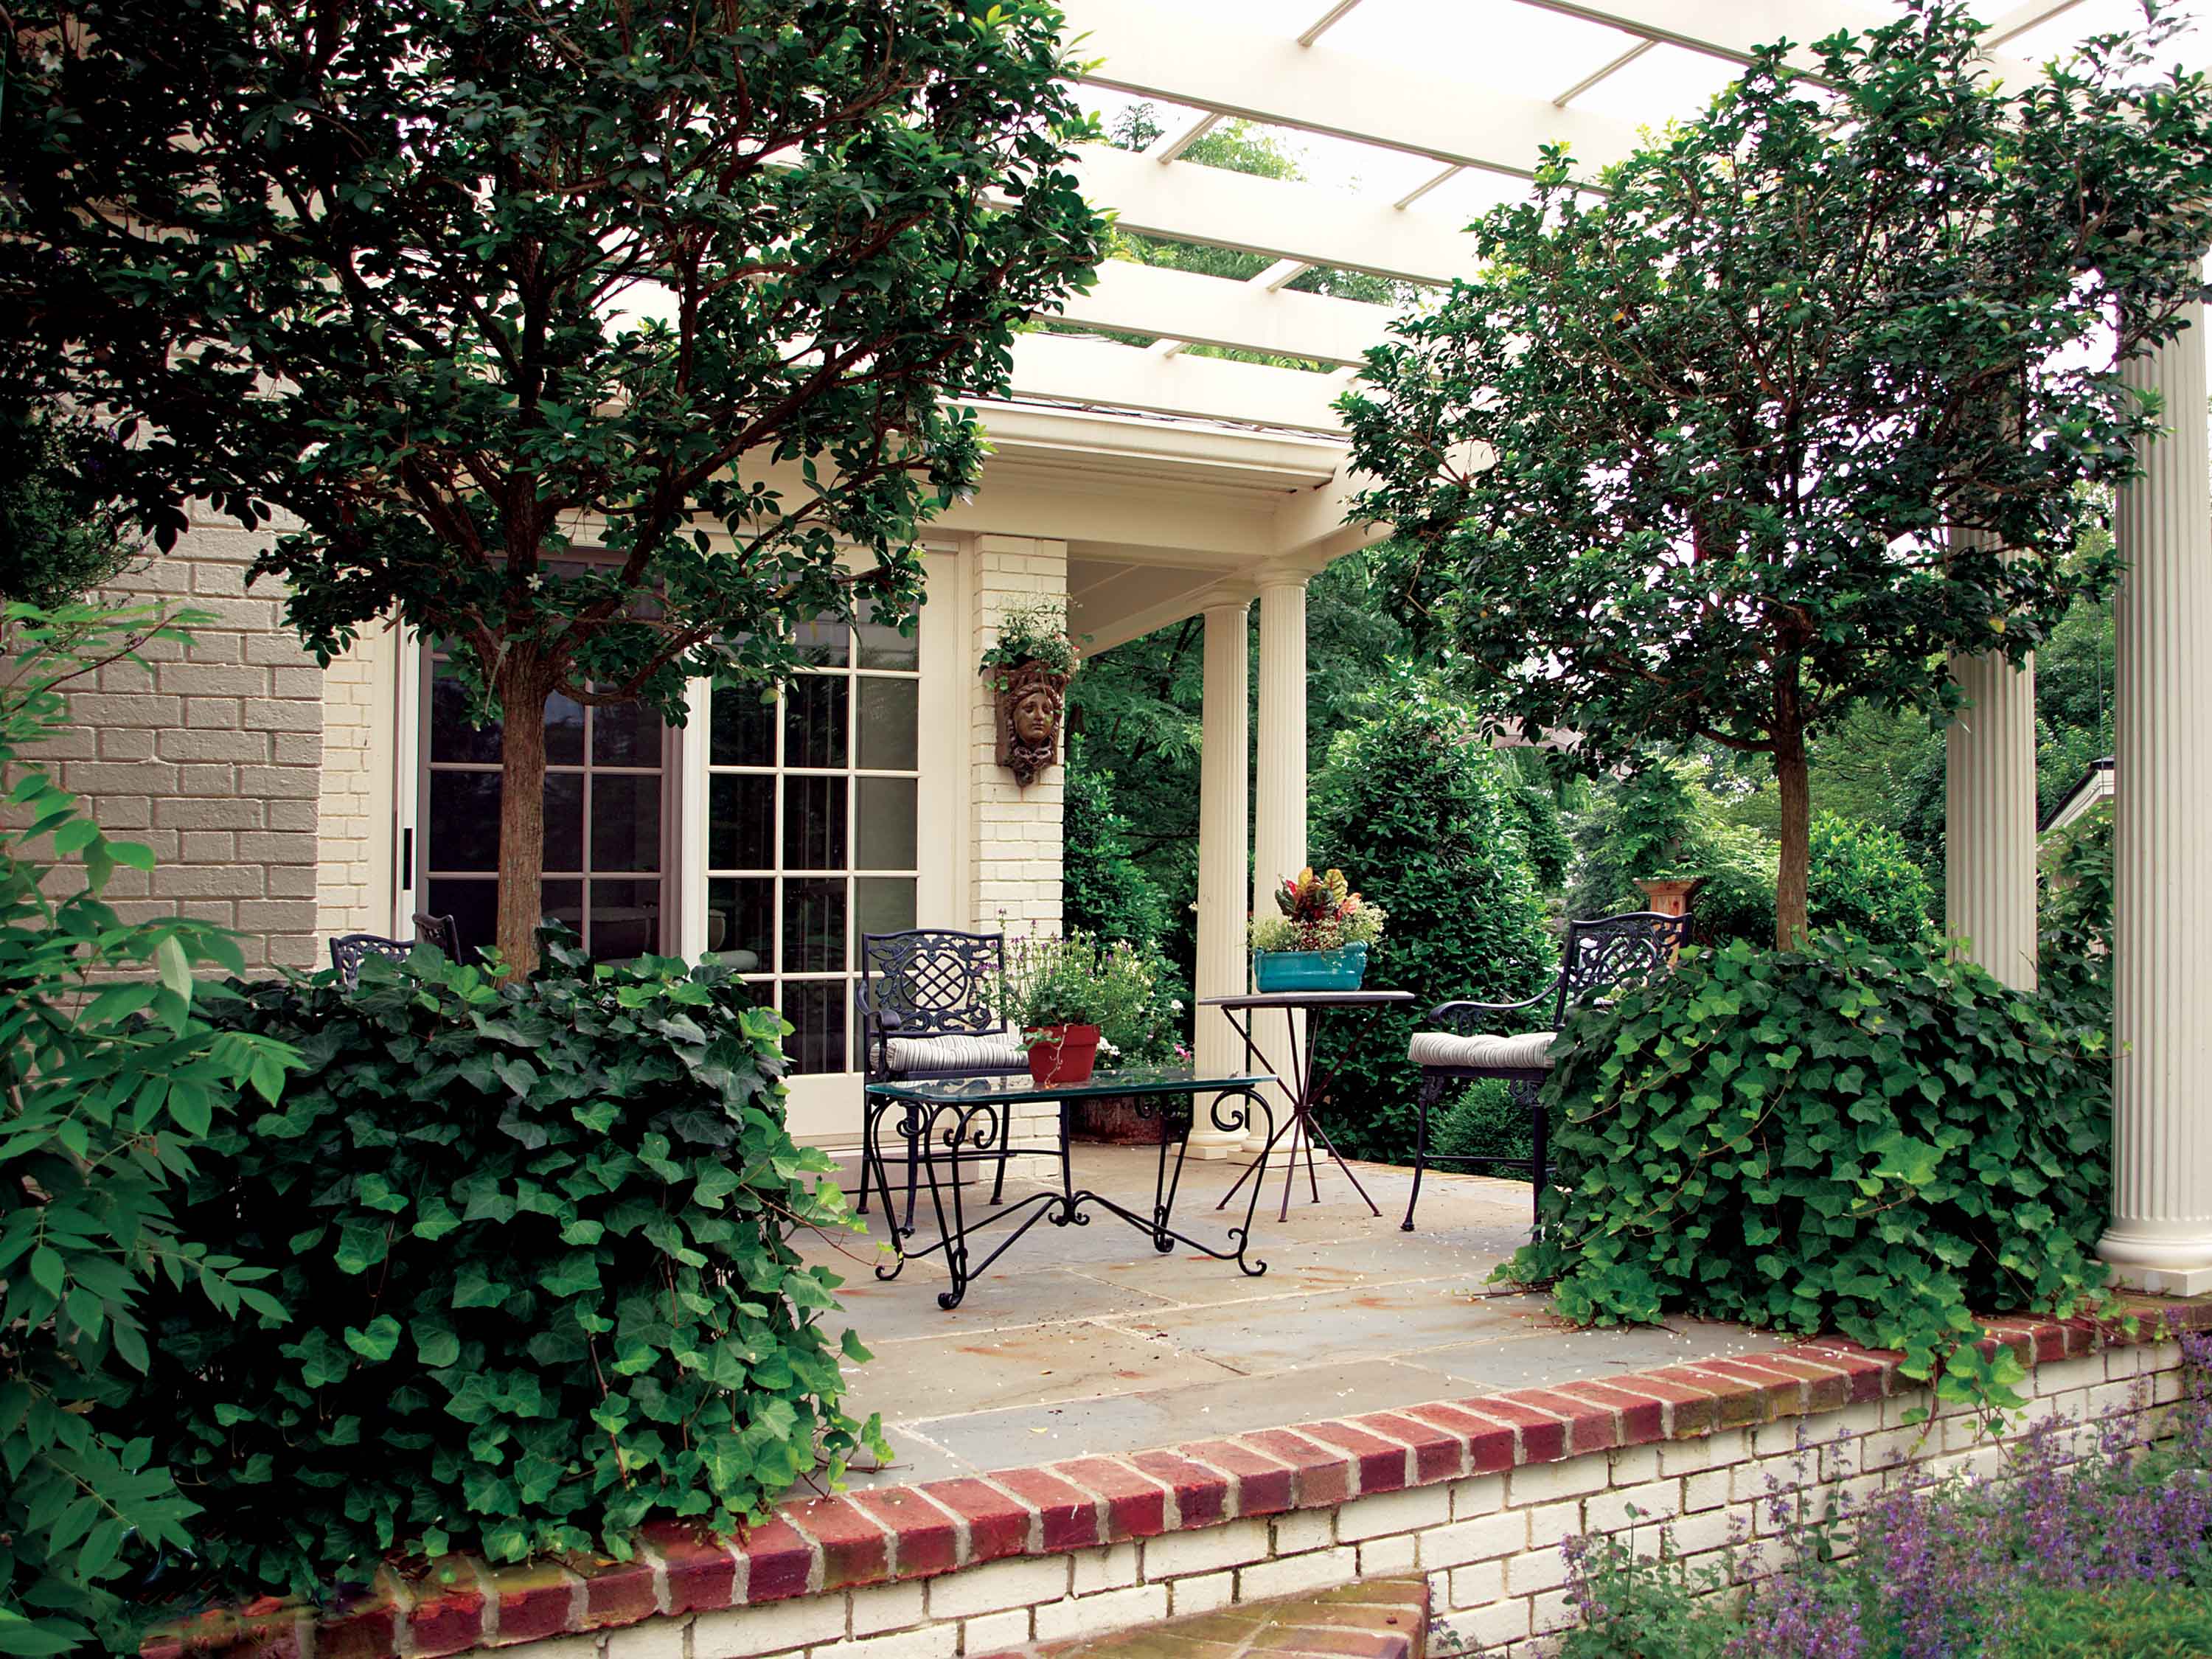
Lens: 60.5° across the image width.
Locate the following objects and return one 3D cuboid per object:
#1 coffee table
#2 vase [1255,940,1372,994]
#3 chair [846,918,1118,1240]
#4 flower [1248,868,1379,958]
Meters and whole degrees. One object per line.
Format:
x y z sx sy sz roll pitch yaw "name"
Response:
-0.089 1.317 6.951 1.318 0.463 0.678 3 11 -20 "coffee table"
0.760 0.518 7.063 0.408 0.181 0.340 -1 -4 4 "vase"
-0.483 0.787 6.225 0.886 0.824 0.734 1 -3 1 "chair"
0.823 0.328 7.293 0.466 0.247 0.392 0 -6 1 "flower"
